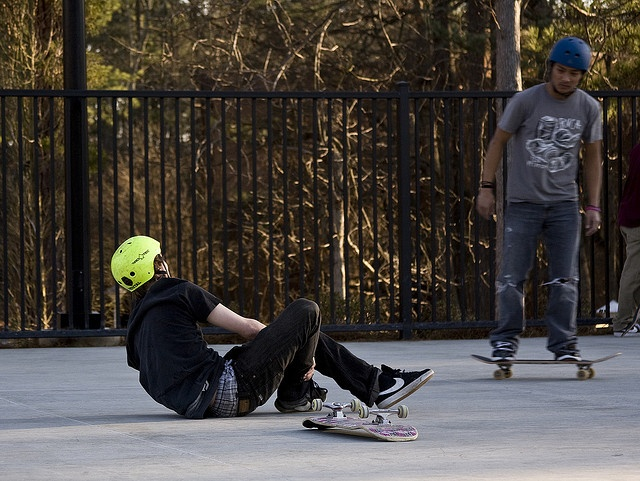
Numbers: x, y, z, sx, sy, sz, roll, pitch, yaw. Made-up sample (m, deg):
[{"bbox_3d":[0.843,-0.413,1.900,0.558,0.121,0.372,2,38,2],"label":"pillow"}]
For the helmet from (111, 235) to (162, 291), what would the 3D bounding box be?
[{"bbox_3d":[-1.400,0.168,11.387,0.431,0.368,0.313,-30,9,-18],"label":"helmet"}]

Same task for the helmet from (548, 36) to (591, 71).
[{"bbox_3d":[2.146,-1.561,12.598,0.251,0.268,0.343,17,-14,21],"label":"helmet"}]

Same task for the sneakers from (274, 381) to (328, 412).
[{"bbox_3d":[-0.089,1.243,11.714,0.489,0.235,0.171,-3,5,-21],"label":"sneakers"}]

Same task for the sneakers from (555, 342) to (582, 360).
[{"bbox_3d":[2.140,0.968,12.729,0.271,0.190,0.103,-4,-3,19],"label":"sneakers"}]

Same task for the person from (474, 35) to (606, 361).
[{"bbox_3d":[1.895,-0.163,12.735,1.041,2.631,0.437,-1,0,9],"label":"person"}]
